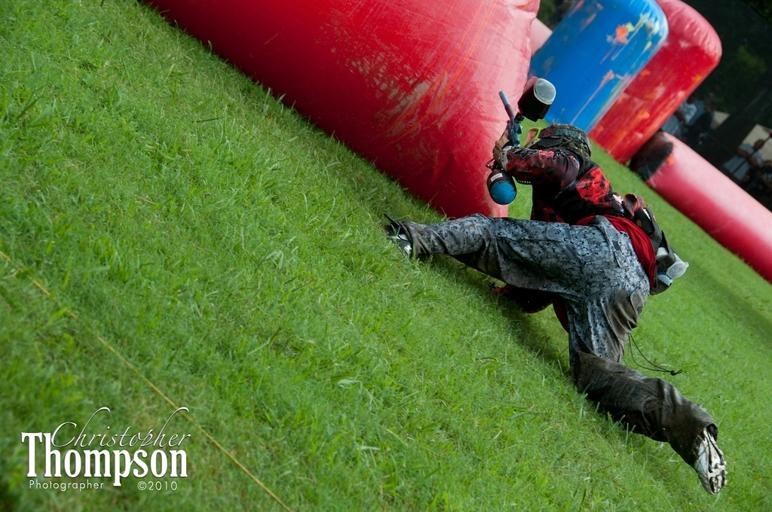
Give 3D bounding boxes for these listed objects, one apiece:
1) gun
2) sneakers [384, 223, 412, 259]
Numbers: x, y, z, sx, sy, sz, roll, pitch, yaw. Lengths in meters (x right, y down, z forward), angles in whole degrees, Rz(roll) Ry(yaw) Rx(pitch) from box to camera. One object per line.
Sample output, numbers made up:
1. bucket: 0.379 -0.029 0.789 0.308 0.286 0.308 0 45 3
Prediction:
1. gun: 0.781 -0.679 4.545 0.202 0.836 0.309 25 -6 4
2. sneakers: 0.063 -0.094 4.258 0.093 0.100 0.246 -2 57 -39
